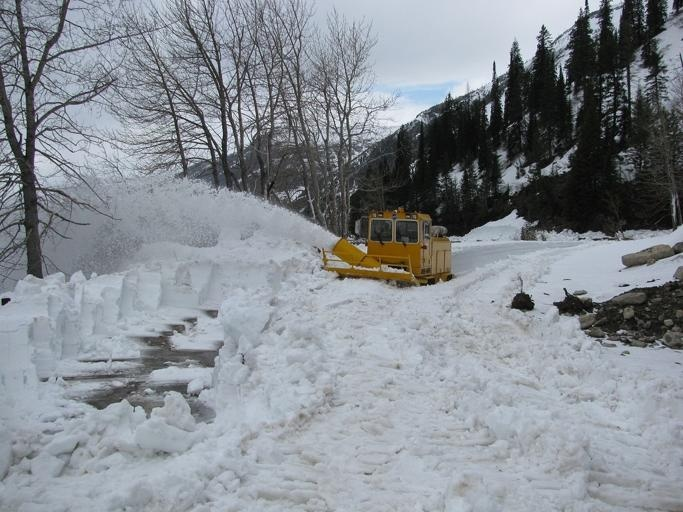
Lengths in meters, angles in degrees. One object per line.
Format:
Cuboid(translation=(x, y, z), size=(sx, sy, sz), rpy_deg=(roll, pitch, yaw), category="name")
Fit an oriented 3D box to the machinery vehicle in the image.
Cuboid(translation=(2.195, -0.155, 21.098), size=(2.665, 2.256, 4.095), rpy_deg=(-1, -1, 30), category="machinery vehicle")
